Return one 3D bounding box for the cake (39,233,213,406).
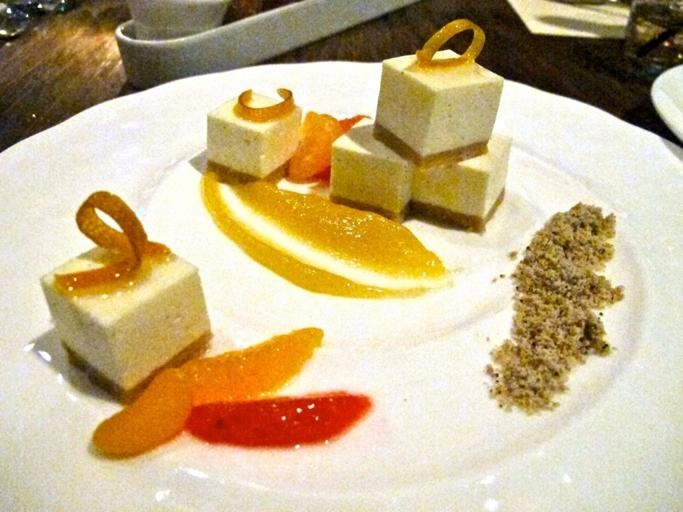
[{"bbox_3d":[-0.518,0.138,1.811,0.345,0.312,0.356,30,46,30],"label":"cake"}]

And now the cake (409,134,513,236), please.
[{"bbox_3d":[0.385,-0.297,2.250,0.288,0.238,0.304,13,36,17],"label":"cake"}]

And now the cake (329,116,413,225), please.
[{"bbox_3d":[0.118,-0.246,2.313,0.278,0.223,0.290,19,45,14],"label":"cake"}]
